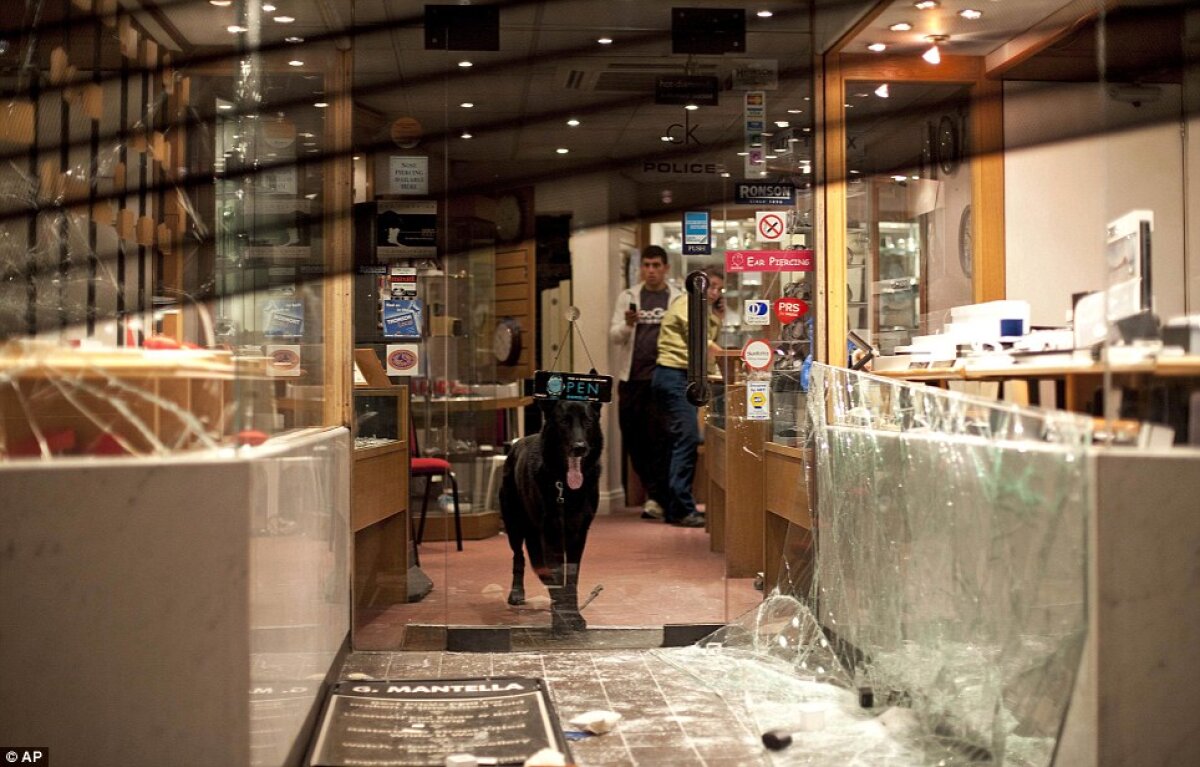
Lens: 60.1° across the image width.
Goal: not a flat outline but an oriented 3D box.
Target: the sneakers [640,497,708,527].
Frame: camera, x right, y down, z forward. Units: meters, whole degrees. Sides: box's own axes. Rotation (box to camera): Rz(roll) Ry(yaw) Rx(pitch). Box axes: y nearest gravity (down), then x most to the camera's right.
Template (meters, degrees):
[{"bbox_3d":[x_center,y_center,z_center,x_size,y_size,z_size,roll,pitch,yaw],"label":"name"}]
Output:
[{"bbox_3d":[0.398,0.701,5.622,0.378,0.163,0.140,0,-4,-2],"label":"sneakers"}]
